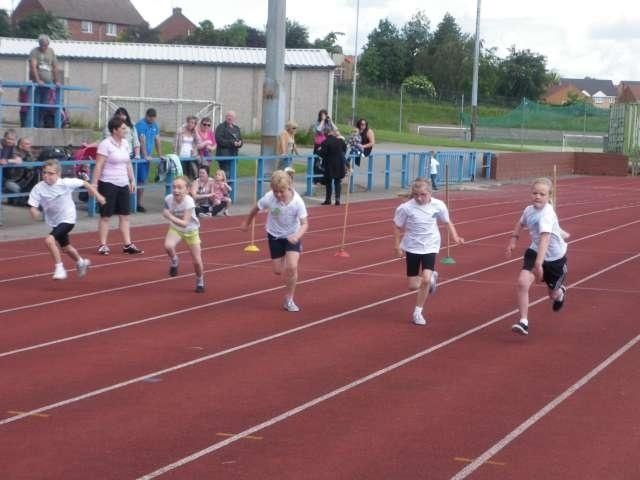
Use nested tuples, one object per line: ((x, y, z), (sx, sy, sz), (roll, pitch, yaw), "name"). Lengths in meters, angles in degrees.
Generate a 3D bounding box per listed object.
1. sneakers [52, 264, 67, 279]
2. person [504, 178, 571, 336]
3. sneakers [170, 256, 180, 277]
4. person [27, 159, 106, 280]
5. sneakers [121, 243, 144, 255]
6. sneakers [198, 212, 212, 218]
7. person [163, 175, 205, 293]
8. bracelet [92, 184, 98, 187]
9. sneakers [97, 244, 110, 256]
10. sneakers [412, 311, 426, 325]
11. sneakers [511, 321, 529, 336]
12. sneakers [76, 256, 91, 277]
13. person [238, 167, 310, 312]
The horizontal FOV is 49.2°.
((-3.651, 0.448, 9.806), (0.172, 0.235, 0.330), (-2, -4, -5), "sneakers")
((2.410, 0.174, 7.833), (0.551, 1.697, 1.069), (8, 13, 32), "person")
((-2.125, 0.387, 10.169), (0.123, 0.370, 0.142), (2, 0, 9), "sneakers")
((-3.626, -0.270, 9.866), (0.786, 1.696, 0.930), (-3, 12, -19), "person")
((-3.096, 0.153, 11.778), (0.429, 0.212, 0.168), (1, 5, -7), "sneakers")
((-2.622, -0.573, 16.025), (0.268, 0.113, 0.095), (4, 2, 2), "sneakers")
((-2.000, -0.209, 10.357), (0.567, 1.601, 2.270), (-1, 13, -10), "person")
((-3.549, -0.857, 11.092), (0.066, 0.066, 0.070), (-1, 33, 1), "bracelet")
((-3.594, 0.168, 11.675), (0.126, 0.133, 0.290), (0, -2, -24), "sneakers")
((1.189, 0.908, 8.368), (0.158, 0.172, 0.322), (3, 13, 8), "sneakers")
((2.208, 0.960, 7.691), (0.121, 0.149, 0.317), (4, -20, 36), "sneakers")
((-3.290, 0.373, 9.751), (0.174, 0.404, 0.148), (5, 26, -8), "sneakers")
((-0.500, -0.007, 8.865), (0.690, 1.783, 1.014), (0, 12, -6), "person")
